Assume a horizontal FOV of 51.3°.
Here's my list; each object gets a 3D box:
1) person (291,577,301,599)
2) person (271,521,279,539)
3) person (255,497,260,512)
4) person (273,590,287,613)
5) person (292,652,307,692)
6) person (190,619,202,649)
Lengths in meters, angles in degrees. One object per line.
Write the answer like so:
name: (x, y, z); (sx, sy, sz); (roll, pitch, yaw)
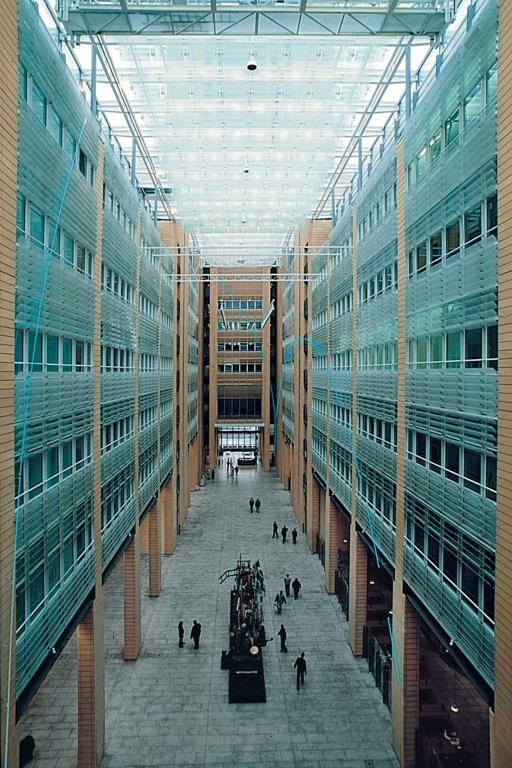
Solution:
person: (1.558, 8.021, 21.067); (0.230, 0.820, 0.978); (0, -1, 7)
person: (1.048, 8.226, 30.194); (0.413, 0.521, 1.476); (3, -48, 5)
person: (0.055, 8.026, 35.628); (0.420, 0.441, 1.418); (1, -58, 3)
person: (0.898, 8.222, 20.170); (0.417, 1.299, 0.334); (-3, 13, -13)
person: (1.225, 7.871, 14.896); (0.257, 0.965, 0.847); (0, -1, 7)
person: (-1.975, 7.917, 17.254); (0.311, 0.983, 1.150); (0, -1, -6)
